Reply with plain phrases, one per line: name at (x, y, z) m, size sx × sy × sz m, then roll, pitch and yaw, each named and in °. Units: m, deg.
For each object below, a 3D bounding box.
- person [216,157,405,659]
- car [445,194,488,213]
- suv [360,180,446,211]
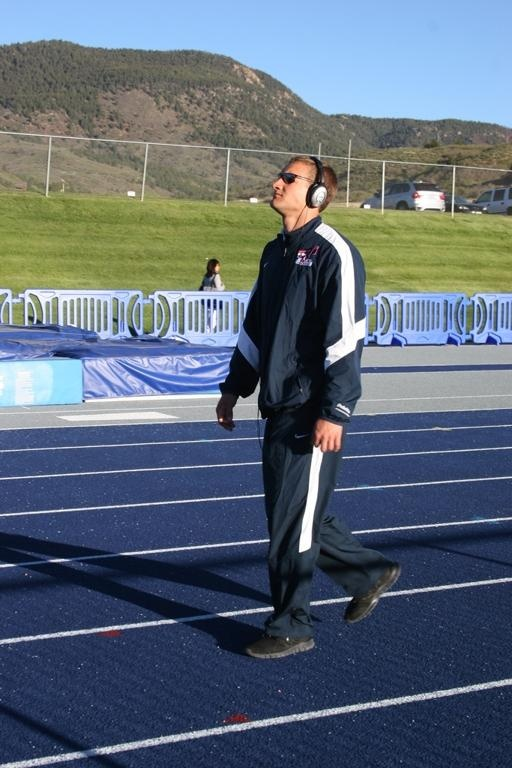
person at (0.200, 0.091, 3.213) m, size 0.567 × 1.978 × 0.678 m, roll -4°, pitch 9°, yaw -31°
car at (8.235, -7.455, 33.348) m, size 1.029 × 0.705 × 2.220 m, roll -3°, pitch 10°, yaw -28°
suv at (5.678, -7.378, 32.230) m, size 1.863 × 1.326 × 3.745 m, roll -9°, pitch 17°, yaw -39°
